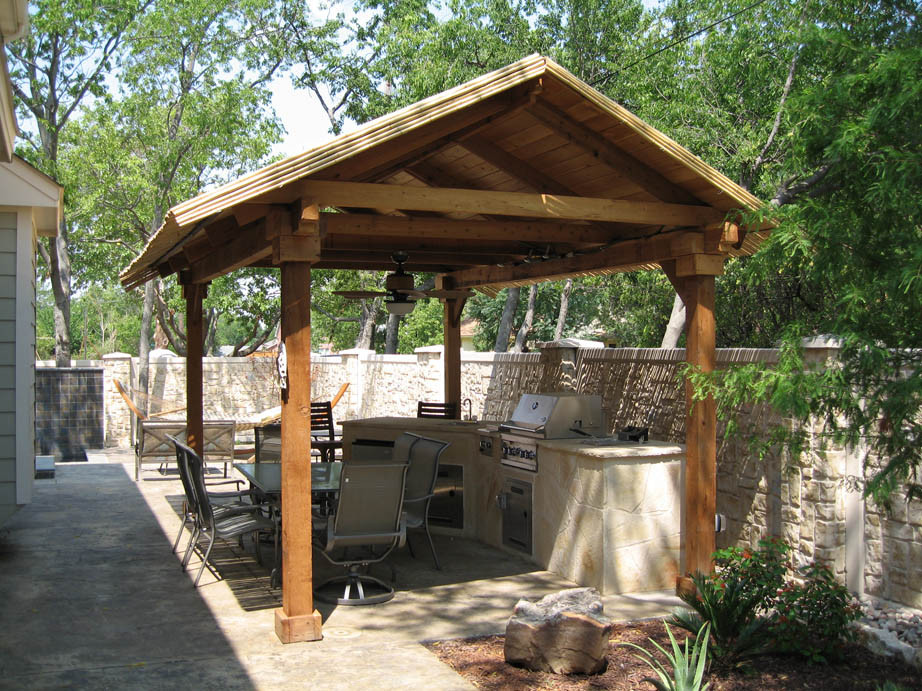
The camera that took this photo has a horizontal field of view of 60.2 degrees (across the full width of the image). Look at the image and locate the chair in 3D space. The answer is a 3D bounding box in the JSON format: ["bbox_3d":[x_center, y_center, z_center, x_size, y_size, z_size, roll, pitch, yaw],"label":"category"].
[{"bbox_3d":[-1.232,1.424,7.041,2.304,1.220,2.295,5,-3,-30],"label":"chair"}]
